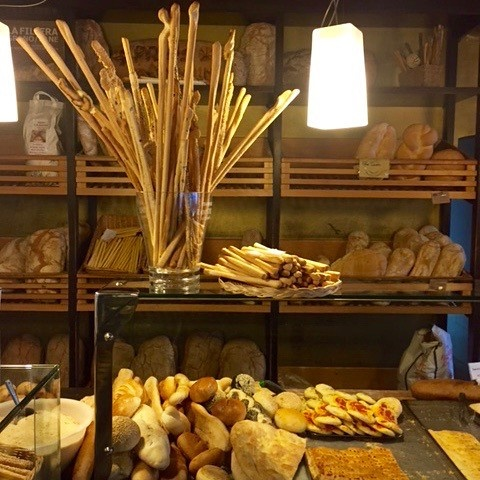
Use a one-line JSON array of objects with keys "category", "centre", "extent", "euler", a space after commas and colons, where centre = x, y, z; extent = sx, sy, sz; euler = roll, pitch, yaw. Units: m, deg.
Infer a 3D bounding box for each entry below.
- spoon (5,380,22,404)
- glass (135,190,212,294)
[{"category": "spoon", "centre": [-0.450, 0.304, 0.927], "extent": [0.012, 0.053, 0.008], "euler": [-24, -25, -14]}, {"category": "glass", "centre": [-0.161, -0.003, 1.169], "extent": [0.182, 0.265, 0.184], "euler": [2, 1, -37]}]
